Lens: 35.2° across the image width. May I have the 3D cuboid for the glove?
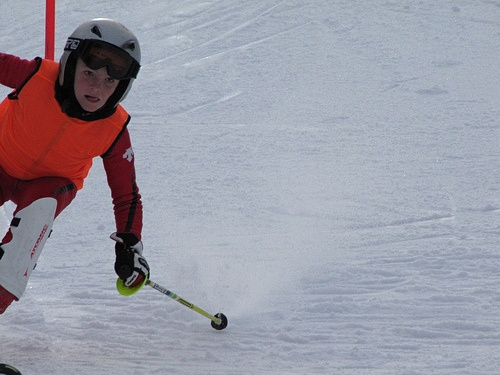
[{"bbox_3d":[-0.928,0.546,5.960,0.232,0.311,0.387,-16,72,-10],"label":"glove"}]
